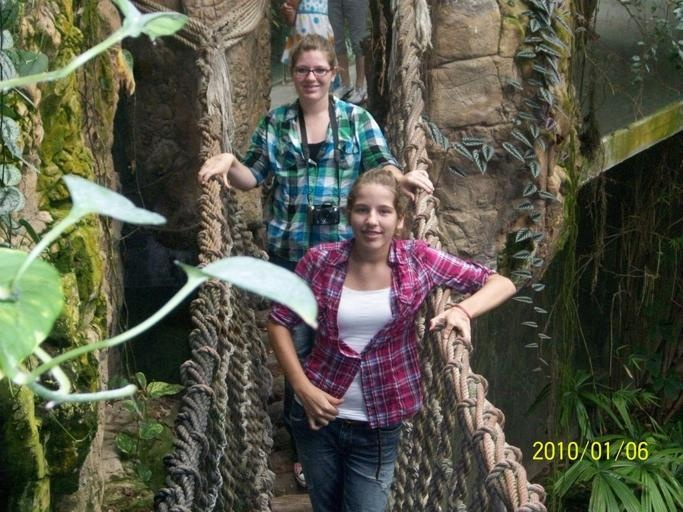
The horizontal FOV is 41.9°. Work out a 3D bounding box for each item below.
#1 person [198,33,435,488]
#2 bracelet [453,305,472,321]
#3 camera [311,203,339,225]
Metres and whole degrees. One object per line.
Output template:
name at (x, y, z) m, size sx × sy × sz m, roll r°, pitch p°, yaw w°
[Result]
person at (-0.103, 0.019, 4.373) m, size 1.085 × 2.094 × 0.632 m, roll -1°, pitch 8°, yaw 4°
bracelet at (0.514, 0.236, 3.797) m, size 0.062 × 0.017 × 0.062 m, roll 44°, pitch -12°, yaw 45°
camera at (-0.079, -0.191, 4.277) m, size 0.142 × 0.107 × 0.086 m, roll 0°, pitch 1°, yaw 1°
